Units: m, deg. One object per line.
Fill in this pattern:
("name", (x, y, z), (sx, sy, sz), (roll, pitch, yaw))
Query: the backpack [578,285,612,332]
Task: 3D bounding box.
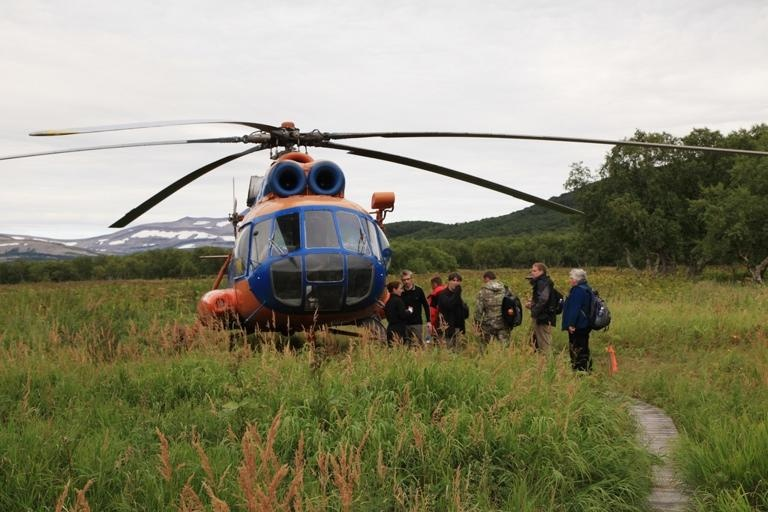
("backpack", (3.706, 0.980, 10.399), (0.432, 0.678, 0.588), (-3, -6, 38))
